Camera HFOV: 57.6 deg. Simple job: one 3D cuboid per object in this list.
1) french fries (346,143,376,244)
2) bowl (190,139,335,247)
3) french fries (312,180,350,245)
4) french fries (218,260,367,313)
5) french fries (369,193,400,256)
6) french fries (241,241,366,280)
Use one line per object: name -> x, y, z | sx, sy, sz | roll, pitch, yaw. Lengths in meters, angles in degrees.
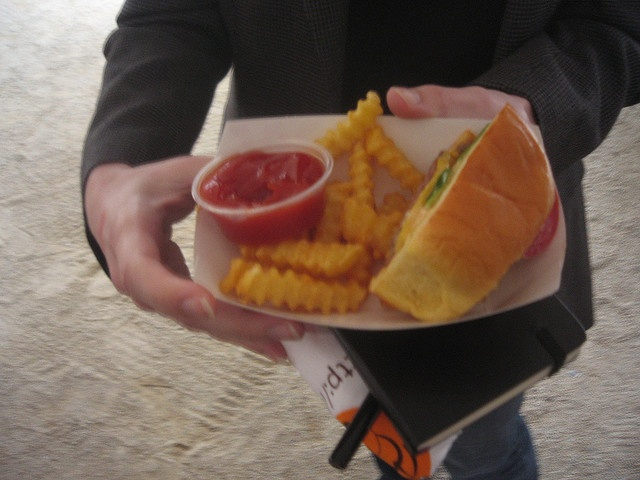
french fries -> 0.161, -0.189, 2.365 | 0.113, 0.105, 0.392 | 0, 79, -3
bowl -> -0.237, -0.205, 2.357 | 0.556, 0.150, 0.450 | 4, 60, 0
french fries -> 0.053, -0.118, 2.380 | 0.174, 0.069, 0.225 | 3, 67, 1
french fries -> -0.108, 0.192, 2.228 | 0.565, 0.102, 0.171 | 10, 60, 4
french fries -> 0.263, -0.065, 2.301 | 0.135, 0.051, 0.209 | -2, 77, -7
french fries -> -0.046, 0.062, 2.244 | 0.447, 0.090, 0.144 | 4, 50, 15
